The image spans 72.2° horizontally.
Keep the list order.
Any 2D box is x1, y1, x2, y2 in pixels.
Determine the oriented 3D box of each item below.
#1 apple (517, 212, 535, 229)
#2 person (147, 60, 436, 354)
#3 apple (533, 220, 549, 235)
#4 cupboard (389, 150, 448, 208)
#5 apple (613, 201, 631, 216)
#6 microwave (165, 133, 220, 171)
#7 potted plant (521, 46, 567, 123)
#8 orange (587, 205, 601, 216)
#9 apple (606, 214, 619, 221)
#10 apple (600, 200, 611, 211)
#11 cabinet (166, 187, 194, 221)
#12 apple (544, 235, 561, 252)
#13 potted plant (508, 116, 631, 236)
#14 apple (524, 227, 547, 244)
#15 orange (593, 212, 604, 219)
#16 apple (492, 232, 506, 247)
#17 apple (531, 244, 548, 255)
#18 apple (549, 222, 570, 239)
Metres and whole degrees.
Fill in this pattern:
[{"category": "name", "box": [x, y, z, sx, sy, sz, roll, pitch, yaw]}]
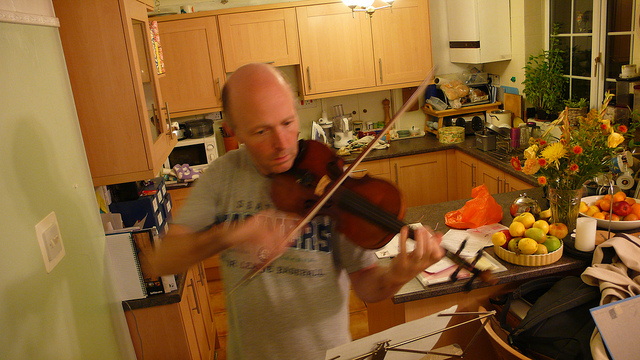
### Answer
[{"category": "apple", "box": [1.354, 0.260, 2.889, 0.111, 0.097, 0.102, 5, -22, 24]}, {"category": "person", "box": [-0.184, 0.159, 1.919, 1.124, 1.318, 0.559, -12, 15, -16]}, {"category": "apple", "box": [1.460, 0.301, 2.878, 0.082, 0.087, 0.083, -5, -12, 37]}, {"category": "cupboard", "box": [0.991, -0.051, 4.447, 0.580, 0.482, 0.311, -7, 17, -10]}, {"category": "apple", "box": [2.023, 0.186, 2.939, 0.103, 0.091, 0.105, -12, 13, -17]}, {"category": "microwave", "box": [-1.284, -0.290, 4.331, 0.449, 0.267, 0.255, -1, 19, 0]}, {"category": "potted plant", "box": [2.229, -0.962, 4.404, 0.324, 0.726, 0.436, -9, 15, -5]}, {"category": "orange", "box": [1.891, 0.211, 3.024, 0.071, 0.066, 0.023, -25, -18, 5]}, {"category": "apple", "box": [1.967, 0.250, 2.946, 0.071, 0.030, 0.056, 2, 16, 30]}, {"category": "apple", "box": [1.950, 0.171, 2.997, 0.056, 0.071, 0.041, 0, 16, 27]}, {"category": "cabinet", "box": [-1.396, 0.207, 4.372, 0.189, 0.212, 0.229, -11, 15, -14]}, {"category": "apple", "box": [1.494, 0.408, 2.817, 0.080, 0.080, 0.088, 4, 18, 37]}, {"category": "potted plant", "box": [1.652, -0.021, 3.210, 0.902, 0.803, 0.863, 2, 2, 9]}, {"category": "apple", "box": [1.380, 0.346, 2.811, 0.118, 0.080, 0.086, 13, 42, 24]}, {"category": "orange", "box": [1.894, 0.240, 2.973, 0.043, 0.040, 0.049, 34, -25, -28]}, {"category": "apple", "box": [1.170, 0.384, 2.859, 0.059, 0.062, 0.068, -45, 32, 18]}, {"category": "apple", "box": [1.400, 0.439, 2.810, 0.076, 0.059, 0.055, 3, 55, 55]}, {"category": "apple", "box": [1.582, 0.334, 2.912, 0.110, 0.093, 0.106, -17, 9, 10]}]
